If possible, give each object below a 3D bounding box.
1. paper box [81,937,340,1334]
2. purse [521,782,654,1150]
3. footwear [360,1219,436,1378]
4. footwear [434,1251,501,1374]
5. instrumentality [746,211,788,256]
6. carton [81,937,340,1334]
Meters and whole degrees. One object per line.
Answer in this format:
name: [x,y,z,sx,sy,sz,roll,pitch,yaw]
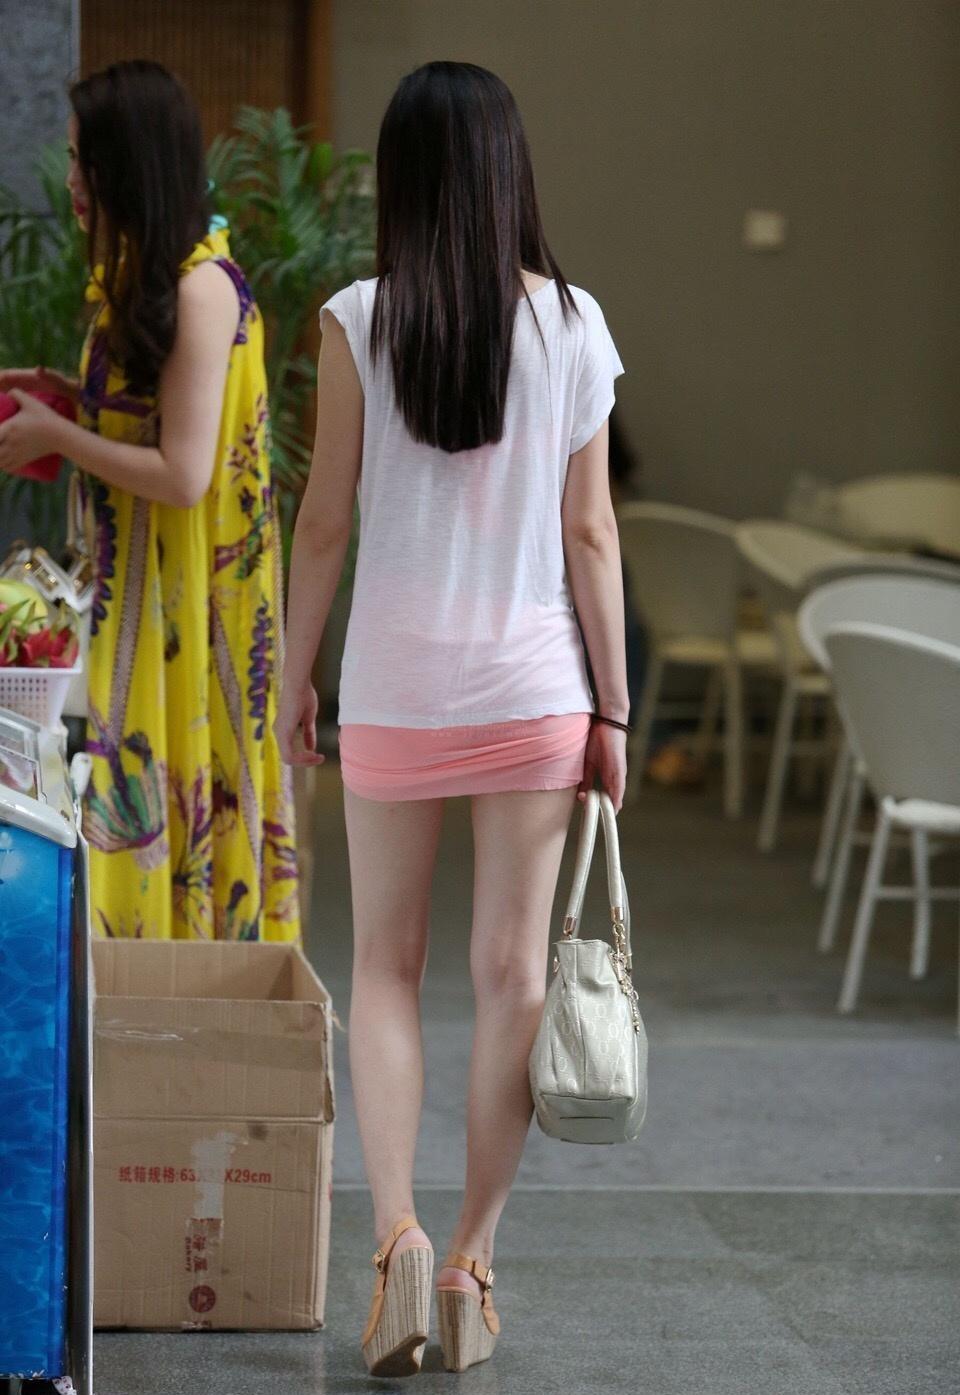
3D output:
paper box: [-0.333,0.578,2.343,0.436,0.524,0.552,1,5,-4]
purse: [0.138,0.334,2.002,0.137,0.438,0.207,3,2,11]
footwear: [-0.099,0.707,1.980,0.072,0.196,0.077,4,33,-6]
footwear: [-0.015,0.742,2.038,0.058,0.159,0.064,1,22,6]
instrumentality: [0.479,-0.781,2.814,0.073,0.068,0.032,-1,3,-7]
carton: [-0.327,0.574,2.347,0.436,0.524,0.552,1,5,-4]
